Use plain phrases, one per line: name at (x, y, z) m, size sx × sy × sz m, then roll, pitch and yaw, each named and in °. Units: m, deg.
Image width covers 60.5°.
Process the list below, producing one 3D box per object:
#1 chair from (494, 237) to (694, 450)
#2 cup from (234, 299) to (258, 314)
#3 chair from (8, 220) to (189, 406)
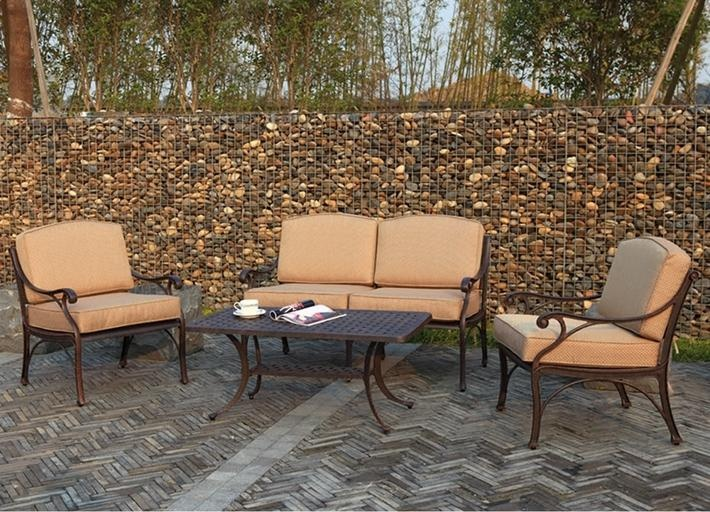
chair at (1.655, 0.552, 4.271) m, size 1.180 × 1.309 × 0.833 m, roll -2°, pitch 15°, yaw -2°
cup at (-0.858, 0.390, 4.735) m, size 0.174 × 0.059 × 0.129 m, roll -3°, pitch -3°, yaw 35°
chair at (-2.081, 0.395, 5.999) m, size 1.870 × 1.844 × 1.748 m, roll 2°, pitch 3°, yaw 42°
